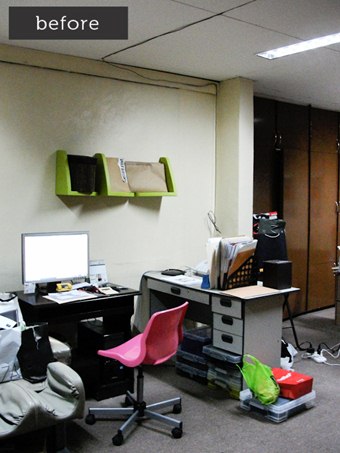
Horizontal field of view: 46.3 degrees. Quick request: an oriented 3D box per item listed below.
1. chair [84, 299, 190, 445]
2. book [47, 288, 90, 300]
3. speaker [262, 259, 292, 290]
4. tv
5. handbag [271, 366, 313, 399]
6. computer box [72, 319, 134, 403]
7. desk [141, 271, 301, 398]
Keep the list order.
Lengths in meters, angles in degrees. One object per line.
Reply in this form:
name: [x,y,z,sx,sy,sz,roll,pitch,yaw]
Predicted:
chair: [-0.206,0.855,2.479,0.579,0.750,0.594,1,0,0]
book: [-0.714,0.478,2.799,0.282,0.019,0.293,-1,1,-30]
speaker: [0.815,0.368,3.144,0.204,0.217,0.207,-5,8,-39]
tv: [-0.879,0.273,2.956,0.446,0.425,0.143,-1,-1,-35]
handbag: [0.798,1.077,2.694,0.188,0.084,0.226,-2,-2,-32]
computer box: [-0.548,0.991,2.993,0.471,0.419,0.269,10,-1,42]
desk: [0.337,0.802,3.288,0.581,0.728,1.131,-3,5,-41]
